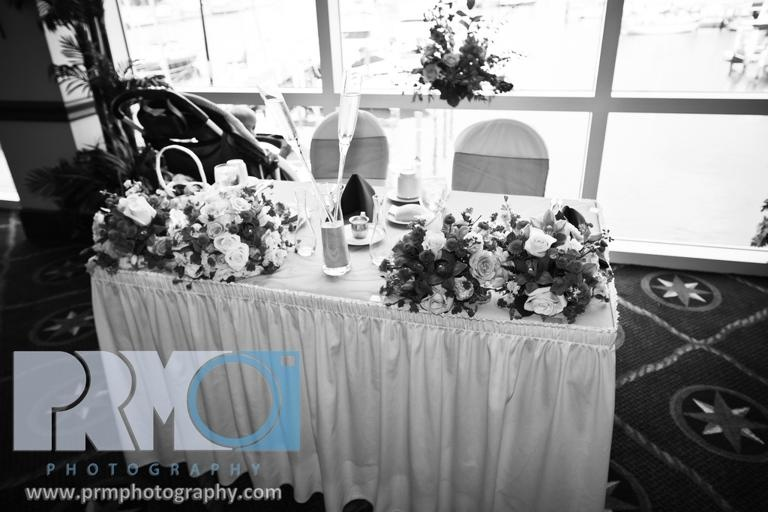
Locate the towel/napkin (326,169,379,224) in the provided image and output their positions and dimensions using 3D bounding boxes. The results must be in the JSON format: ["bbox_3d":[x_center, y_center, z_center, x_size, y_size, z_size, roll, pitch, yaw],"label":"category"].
[{"bbox_3d":[-0.143,-0.290,2.514,0.229,0.259,0.223,-3,47,0],"label":"towel/napkin"}]

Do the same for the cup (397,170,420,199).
[{"bbox_3d":[0.152,-0.407,2.758,0.137,0.133,0.139,0,22,0],"label":"cup"}]

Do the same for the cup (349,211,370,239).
[{"bbox_3d":[-0.113,-0.155,2.433,0.084,0.093,0.129,3,32,13],"label":"cup"}]

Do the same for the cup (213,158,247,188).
[{"bbox_3d":[-0.750,-0.418,2.489,0.161,0.158,0.164,0,21,0],"label":"cup"}]

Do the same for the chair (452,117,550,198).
[{"bbox_3d":[0.727,-0.555,3.363,0.534,0.738,0.546,1,67,12],"label":"chair"}]

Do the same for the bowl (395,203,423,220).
[{"bbox_3d":[0.140,-0.234,2.585,0.121,0.037,0.107,4,40,14],"label":"bowl"}]

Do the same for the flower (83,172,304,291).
[{"bbox_3d":[-0.993,-0.164,2.439,0.613,0.308,0.777,27,23,29],"label":"flower"}]

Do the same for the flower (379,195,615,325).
[{"bbox_3d":[0.534,-0.042,2.116,0.616,0.304,0.440,-11,-8,33],"label":"flower"}]

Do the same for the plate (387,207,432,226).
[{"bbox_3d":[0.119,-0.215,2.574,0.153,0.056,0.157,2,22,13],"label":"plate"}]
